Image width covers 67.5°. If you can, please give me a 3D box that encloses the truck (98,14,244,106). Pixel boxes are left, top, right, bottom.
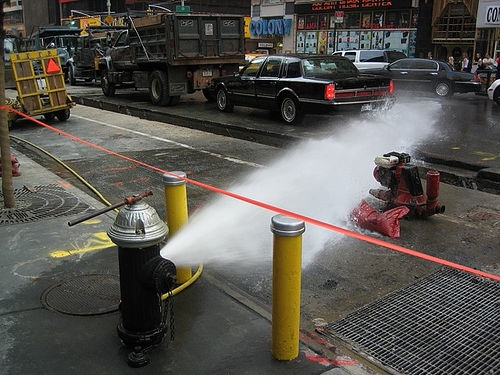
[{"bbox_3d":[-4.224,-6.180,18.208,3.780,2.987,6.902,-17,25,-39],"label":"truck"}]

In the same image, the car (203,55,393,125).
[{"bbox_3d":[1.346,-3.470,13.513,2.724,1.531,5.833,-16,25,-40],"label":"car"}]

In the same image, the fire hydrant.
[{"bbox_3d":[-0.798,0.661,2.747,0.480,1.121,0.571,-11,22,-22],"label":"fire hydrant"}]
